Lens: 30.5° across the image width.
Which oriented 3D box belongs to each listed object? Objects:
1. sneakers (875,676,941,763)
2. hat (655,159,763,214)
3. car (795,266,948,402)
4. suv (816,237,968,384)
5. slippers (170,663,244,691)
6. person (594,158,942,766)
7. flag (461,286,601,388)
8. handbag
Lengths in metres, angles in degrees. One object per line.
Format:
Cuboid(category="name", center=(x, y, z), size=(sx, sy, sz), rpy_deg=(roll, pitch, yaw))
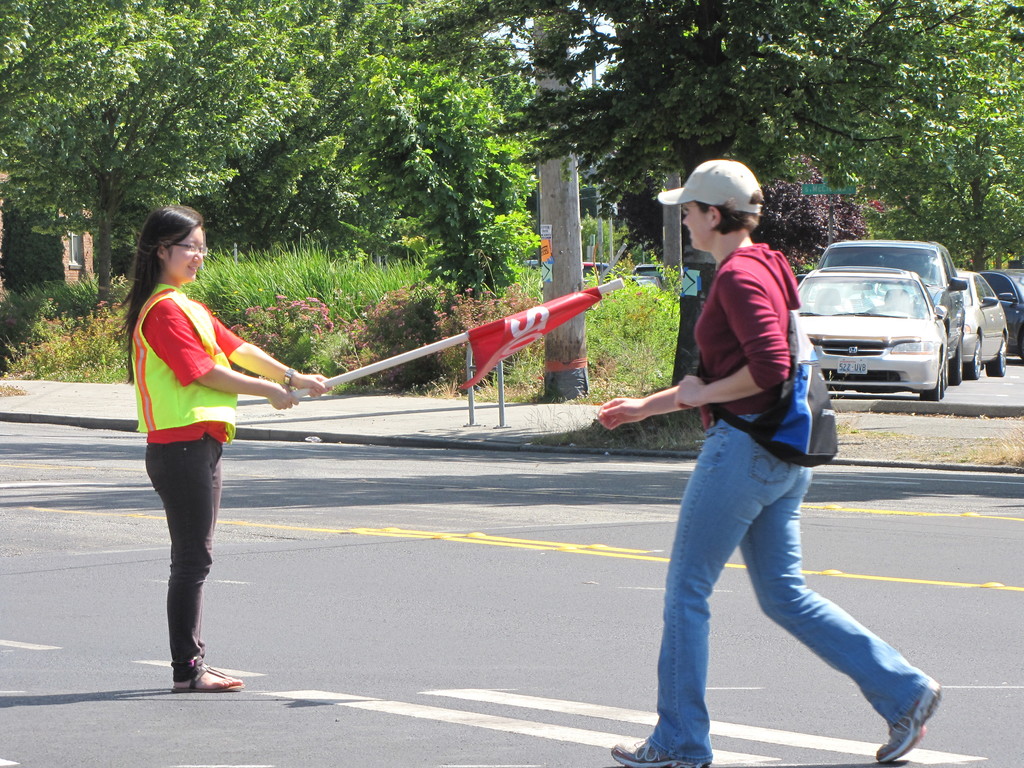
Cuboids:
Cuboid(category="sneakers", center=(2.280, 1.945, 10.742), size=(0.300, 0.213, 0.622), rpy_deg=(26, -36, 0))
Cuboid(category="hat", center=(1.180, -1.175, 10.899), size=(0.513, 0.241, 0.341), rpy_deg=(9, 2, 7))
Cuboid(category="car", center=(5.174, -0.779, 25.976), size=(1.686, 1.229, 2.952), rpy_deg=(-1, -3, 15))
Cuboid(category="suv", center=(6.028, -1.452, 28.586), size=(1.654, 1.334, 2.803), rpy_deg=(0, -3, 22))
Cuboid(category="slippers", center=(-1.896, 1.852, 11.811), size=(0.352, 0.113, 0.190), rpy_deg=(-3, 2, 1))
Cuboid(category="person", center=(1.404, 0.447, 10.746), size=(1.649, 3.455, 0.508), rpy_deg=(0, 2, 2))
Cuboid(category="flag", center=(0.280, -0.527, 23.518), size=(1.673, 0.422, 0.190), rpy_deg=(-17, -29, 39))
Cuboid(category="handbag", center=(1.658, 0.034, 10.735), size=(0.249, 0.894, 0.561), rpy_deg=(2, 3, 43))
